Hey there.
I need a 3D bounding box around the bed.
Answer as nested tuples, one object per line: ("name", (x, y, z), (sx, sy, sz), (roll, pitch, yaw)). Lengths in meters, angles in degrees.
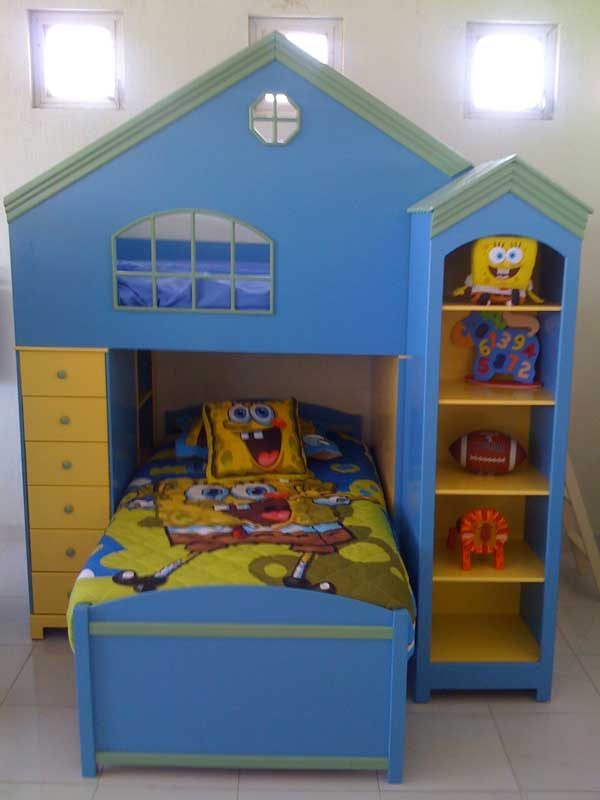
("bed", (-0.214, 0.597, 3.383), (1.240, 0.847, 1.981), (1, 13, 0))
